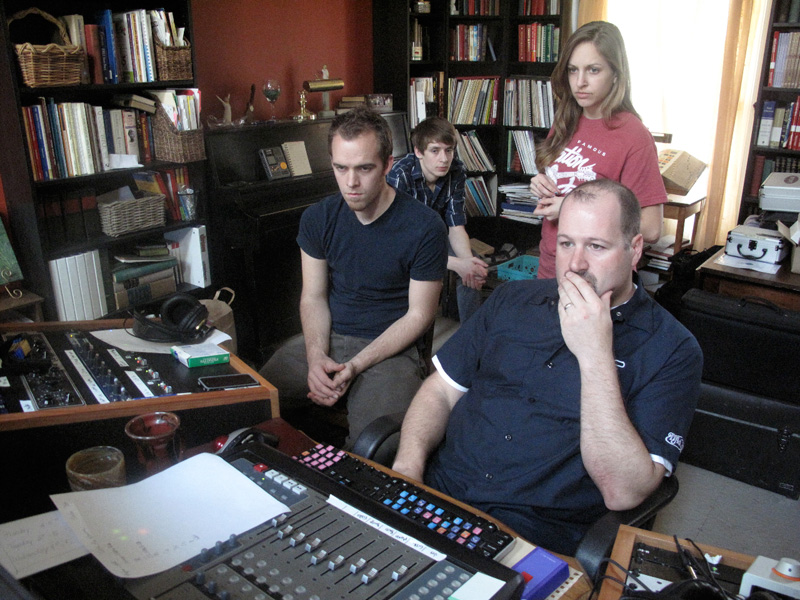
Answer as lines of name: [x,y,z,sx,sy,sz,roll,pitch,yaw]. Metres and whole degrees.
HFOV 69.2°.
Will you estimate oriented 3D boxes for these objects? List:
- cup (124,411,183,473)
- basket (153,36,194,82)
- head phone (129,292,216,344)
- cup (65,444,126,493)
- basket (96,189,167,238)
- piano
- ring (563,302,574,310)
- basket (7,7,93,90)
cup: [-0.620,0.362,1.489,0.122,0.133,0.102,-20,25,-38]
basket: [-1.283,-1.365,3.274,0.154,0.202,0.278,3,15,17]
head phone: [-0.739,0.078,2.034,0.194,0.124,0.234,10,21,26]
cup: [-0.730,0.402,1.393,0.108,0.082,0.112,0,5,0]
basket: [-1.508,-0.490,3.279,0.243,0.167,0.336,-15,14,-23]
piano: [-0.571,-0.407,3.194,0.393,1.116,1.222,6,22,28]
ring: [0.483,0.017,1.660,0.019,0.005,0.020,-25,18,8]
basket: [-1.711,-1.244,2.882,0.269,0.366,0.393,-5,19,-2]
